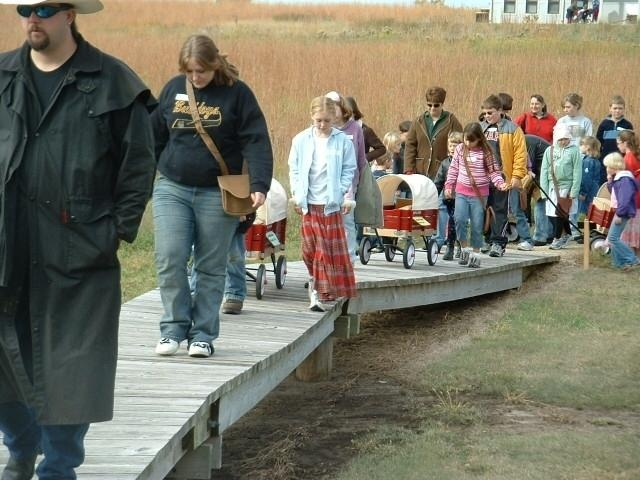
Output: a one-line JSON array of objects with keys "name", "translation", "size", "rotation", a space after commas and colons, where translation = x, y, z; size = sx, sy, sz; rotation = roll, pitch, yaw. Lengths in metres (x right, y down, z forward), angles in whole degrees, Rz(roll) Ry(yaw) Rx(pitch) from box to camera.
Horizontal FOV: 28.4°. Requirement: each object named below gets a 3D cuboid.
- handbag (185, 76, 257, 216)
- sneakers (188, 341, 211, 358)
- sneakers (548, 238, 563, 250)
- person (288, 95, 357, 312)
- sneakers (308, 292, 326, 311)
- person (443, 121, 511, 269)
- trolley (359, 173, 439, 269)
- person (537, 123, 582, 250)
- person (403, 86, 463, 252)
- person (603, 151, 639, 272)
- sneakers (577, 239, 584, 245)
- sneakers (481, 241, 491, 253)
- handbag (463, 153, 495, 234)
[{"name": "handbag", "translation": [-0.869, -0.773, 10.953], "size": [0.540, 1.245, 0.414], "rotation": [-4, 12, 4]}, {"name": "sneakers", "translation": [-1.041, 0.954, 11.006], "size": [0.228, 0.108, 0.088], "rotation": [16, -19, -11]}, {"name": "sneakers", "translation": [3.264, 0.051, 17.419], "size": [0.091, 0.113, 0.267], "rotation": [1, -1, 27]}, {"name": "person", "translation": [0.055, -0.345, 12.511], "size": [0.657, 2.110, 0.319], "rotation": [-5, 12, 0]}, {"name": "sneakers", "translation": [-0.025, 0.610, 12.667], "size": [0.141, 0.186, 0.405], "rotation": [2, -5, -2]}, {"name": "person", "translation": [1.802, -0.509, 14.904], "size": [0.519, 1.799, 0.858], "rotation": [-13, 14, -33]}, {"name": "trolley", "translation": [0.956, -0.264, 15.212], "size": [0.754, 1.121, 0.983], "rotation": [3, 2, 39]}, {"name": "person", "translation": [3.272, -0.720, 17.292], "size": [0.673, 1.704, 0.719], "rotation": [1, 0, 6]}, {"name": "person", "translation": [1.446, -0.771, 16.540], "size": [0.767, 2.547, 0.737], "rotation": [-3, 27, -9]}, {"name": "person", "translation": [3.894, -0.389, 16.249], "size": [0.403, 1.485, 0.641], "rotation": [-2, 12, 13]}, {"name": "sneakers", "translation": [3.662, 0.014, 17.723], "size": [0.066, 0.038, 0.119], "rotation": [7, 9, 23]}, {"name": "sneakers", "translation": [2.178, 0.086, 16.559], "size": [0.101, 0.136, 0.303], "rotation": [-1, -7, 8]}, {"name": "handbag", "translation": [1.848, -0.577, 14.789], "size": [0.144, 0.950, 0.245], "rotation": [-14, -6, 34]}]
